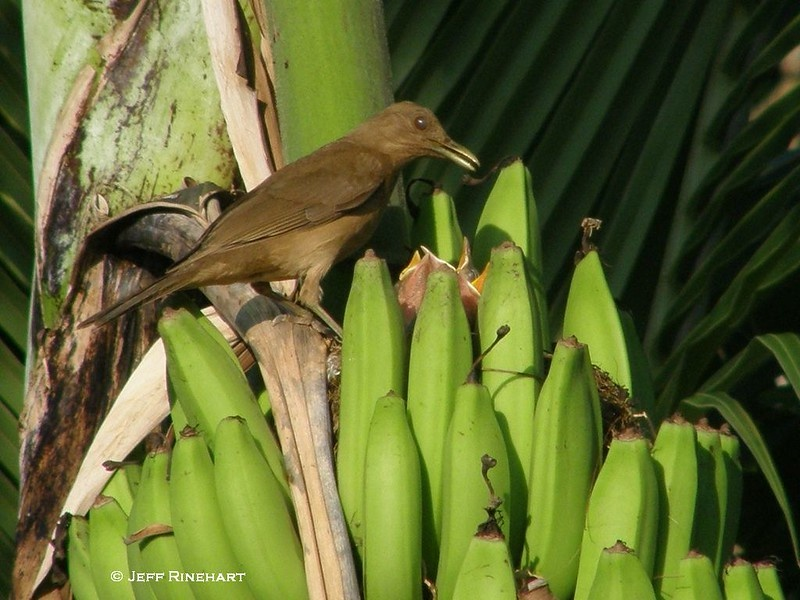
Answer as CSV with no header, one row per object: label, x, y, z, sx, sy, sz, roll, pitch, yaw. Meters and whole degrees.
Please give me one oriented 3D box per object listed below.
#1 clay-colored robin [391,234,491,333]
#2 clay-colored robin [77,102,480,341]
clay-colored robin,0.130,-0.087,5.440,0.375,0.311,0.211,31,17,21
clay-colored robin,-0.488,-0.333,6.138,1.397,1.009,0.465,2,-8,-11
